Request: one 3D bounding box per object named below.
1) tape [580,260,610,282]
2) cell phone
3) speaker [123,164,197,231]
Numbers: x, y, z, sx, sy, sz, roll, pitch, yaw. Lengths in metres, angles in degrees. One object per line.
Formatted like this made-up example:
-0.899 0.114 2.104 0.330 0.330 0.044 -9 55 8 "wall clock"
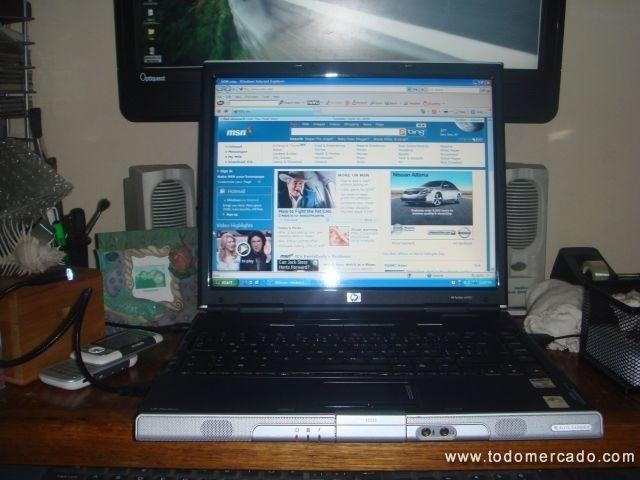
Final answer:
0.516 0.057 1.027 0.033 0.034 0.046 -1 35 3 "tape"
-0.368 0.188 0.934 0.074 0.036 0.157 10 14 32 "cell phone"
-0.325 -0.076 1.171 0.148 0.203 0.134 -1 0 -27 "speaker"
